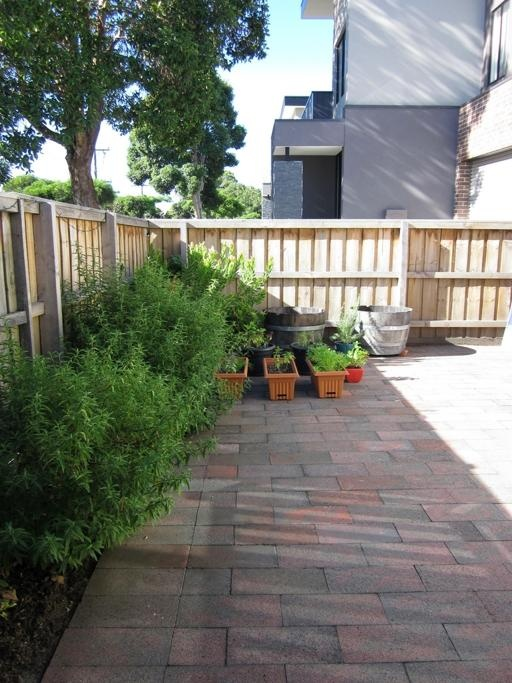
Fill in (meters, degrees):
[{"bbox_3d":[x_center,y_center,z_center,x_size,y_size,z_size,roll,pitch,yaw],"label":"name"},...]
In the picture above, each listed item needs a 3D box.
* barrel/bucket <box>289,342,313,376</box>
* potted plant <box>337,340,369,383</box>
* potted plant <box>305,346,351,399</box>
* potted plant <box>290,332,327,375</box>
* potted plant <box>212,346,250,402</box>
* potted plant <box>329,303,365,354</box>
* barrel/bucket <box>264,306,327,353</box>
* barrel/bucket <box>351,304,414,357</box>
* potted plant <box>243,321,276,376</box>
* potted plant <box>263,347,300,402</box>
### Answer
[{"bbox_3d":[0.450,0.181,5.160,0.280,0.232,0.261,-2,13,0],"label":"barrel/bucket"},{"bbox_3d":[0.971,0.251,5.021,0.225,0.341,0.254,0,-20,29],"label":"potted plant"},{"bbox_3d":[0.595,0.298,4.756,0.310,0.338,0.673,1,5,-7],"label":"potted plant"},{"bbox_3d":[0.479,0.098,5.247,0.378,0.415,0.424,0,1,1],"label":"potted plant"},{"bbox_3d":[-0.199,0.296,4.251,0.259,0.451,0.596,-1,9,-3],"label":"potted plant"},{"bbox_3d":[1.000,-0.010,5.788,0.313,0.459,0.288,0,3,-5],"label":"potted plant"},{"bbox_3d":[0.414,-0.132,5.506,0.494,0.397,0.542,-1,4,0],"label":"barrel/bucket"},{"bbox_3d":[1.473,-0.138,5.918,0.608,0.459,0.630,0,5,0],"label":"barrel/bucket"},{"bbox_3d":[0.000,0.100,5.296,0.354,0.479,0.340,3,4,8],"label":"potted plant"},{"bbox_3d":[0.199,0.322,4.684,0.315,0.217,0.604,0,13,-3],"label":"potted plant"}]
